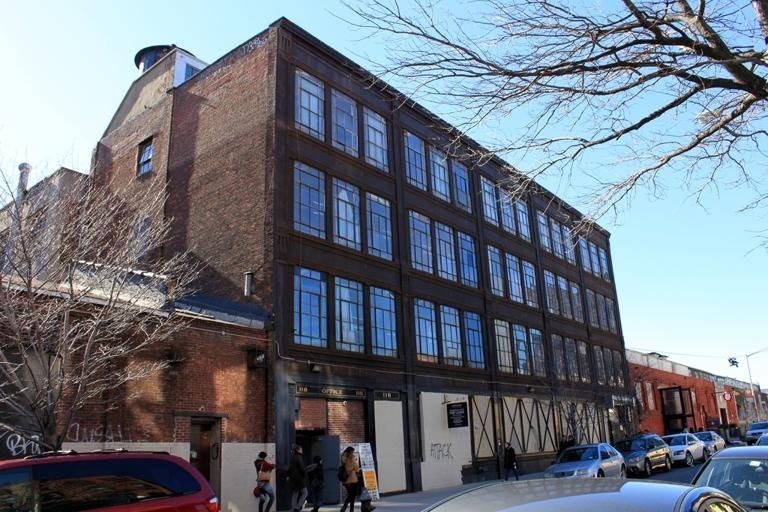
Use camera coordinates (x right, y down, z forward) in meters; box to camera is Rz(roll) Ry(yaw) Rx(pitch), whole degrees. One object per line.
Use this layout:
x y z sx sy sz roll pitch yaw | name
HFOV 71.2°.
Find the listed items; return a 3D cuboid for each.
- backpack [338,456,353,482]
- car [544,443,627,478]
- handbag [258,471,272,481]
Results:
-1.251 7.197 18.218 0.356 0.949 0.661 12 -27 -34 | backpack
8.498 8.728 22.825 2.379 1.333 4.036 -16 -24 30 | car
-3.992 7.321 17.854 0.428 0.265 0.171 3 -18 -14 | handbag
